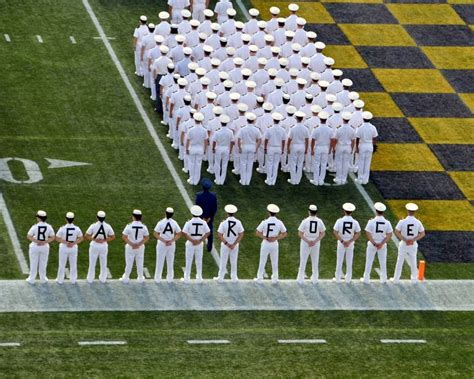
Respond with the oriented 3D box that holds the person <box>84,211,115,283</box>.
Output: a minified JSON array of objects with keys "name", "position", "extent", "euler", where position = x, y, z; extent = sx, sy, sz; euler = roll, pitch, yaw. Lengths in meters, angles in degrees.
[{"name":"person","position":[-3.830,1.495,43.800],"extent":[1.013,1.926,0.701],"euler":[-5,30,-18]}]

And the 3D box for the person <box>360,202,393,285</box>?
[{"name":"person","position":[4.139,1.507,44.768],"extent":[0.845,2.401,0.846],"euler":[3,23,16]}]

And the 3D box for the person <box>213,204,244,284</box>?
[{"name":"person","position":[-0.170,1.557,44.297],"extent":[0.887,2.259,0.485],"euler":[-5,22,-4]}]

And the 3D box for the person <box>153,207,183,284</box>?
[{"name":"person","position":[-1.903,1.551,44.053],"extent":[0.865,2.204,0.447],"euler":[-5,22,-5]}]

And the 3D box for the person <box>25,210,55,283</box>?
[{"name":"person","position":[-5.441,1.588,43.499],"extent":[0.910,2.110,0.487],"euler":[-6,22,-7]}]

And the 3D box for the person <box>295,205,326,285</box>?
[{"name":"person","position":[2.195,1.504,44.654],"extent":[0.831,2.310,0.803],"euler":[-2,22,2]}]

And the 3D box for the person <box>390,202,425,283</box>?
[{"name":"person","position":[5.113,1.560,44.949],"extent":[1.105,2.217,0.986],"euler":[4,6,17]}]

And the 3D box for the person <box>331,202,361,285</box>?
[{"name":"person","position":[3.222,1.532,44.651],"extent":[0.791,2.332,0.585],"euler":[-2,22,3]}]

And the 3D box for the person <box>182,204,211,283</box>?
[{"name":"person","position":[-0.994,1.473,44.329],"extent":[1.053,2.002,0.831],"euler":[-3,25,-15]}]

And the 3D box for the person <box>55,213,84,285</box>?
[{"name":"person","position":[-4.631,1.617,43.524],"extent":[0.860,2.046,0.343],"euler":[-5,22,-5]}]

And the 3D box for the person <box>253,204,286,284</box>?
[{"name":"person","position":[1.063,1.424,44.596],"extent":[1.160,2.064,0.796],"euler":[0,27,-9]}]
